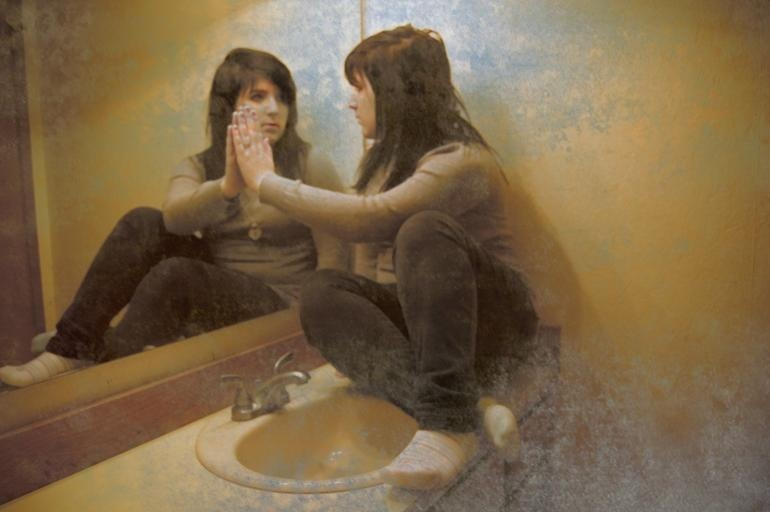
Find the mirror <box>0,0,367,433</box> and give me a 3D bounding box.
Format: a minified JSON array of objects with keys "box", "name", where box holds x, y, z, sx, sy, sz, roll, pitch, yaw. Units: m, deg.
[{"box":[-0.649,-0.114,2.207,0.634,1.215,1.204,4,9,38],"name":"mirror"}]
